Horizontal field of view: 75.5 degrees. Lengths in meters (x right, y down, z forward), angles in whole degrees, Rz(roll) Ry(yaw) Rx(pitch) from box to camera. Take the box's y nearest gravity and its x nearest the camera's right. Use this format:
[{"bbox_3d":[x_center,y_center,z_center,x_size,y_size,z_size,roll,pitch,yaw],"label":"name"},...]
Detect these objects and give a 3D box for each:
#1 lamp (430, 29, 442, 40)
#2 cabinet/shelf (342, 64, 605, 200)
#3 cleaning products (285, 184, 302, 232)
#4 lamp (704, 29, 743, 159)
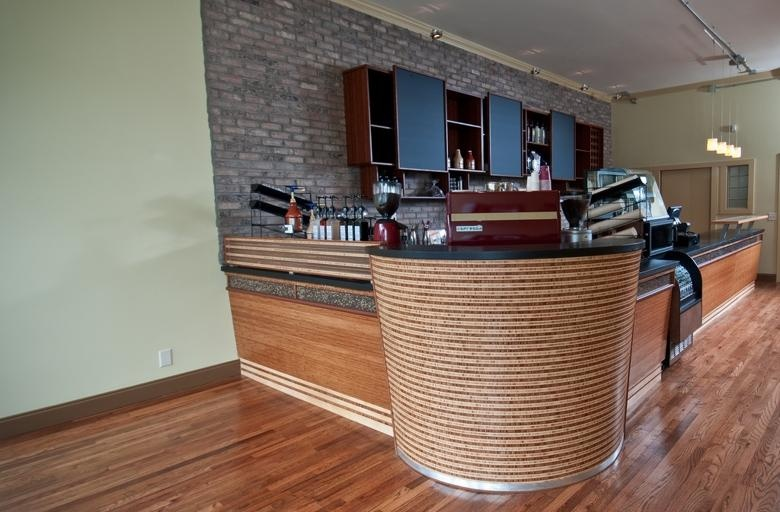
[{"bbox_3d":[0.598,-2.857,6.520,0.108,0.048,0.135,-7,10,-17],"label":"lamp"},{"bbox_3d":[1.079,-1.557,6.905,3.961,1.435,0.463,-7,6,-43],"label":"cabinet/shelf"},{"bbox_3d":[-0.959,-0.445,5.034,0.162,0.454,0.426,-5,5,-11],"label":"cleaning products"},{"bbox_3d":[5.416,-2.374,8.118,0.488,1.501,2.197,-1,5,34],"label":"lamp"}]
